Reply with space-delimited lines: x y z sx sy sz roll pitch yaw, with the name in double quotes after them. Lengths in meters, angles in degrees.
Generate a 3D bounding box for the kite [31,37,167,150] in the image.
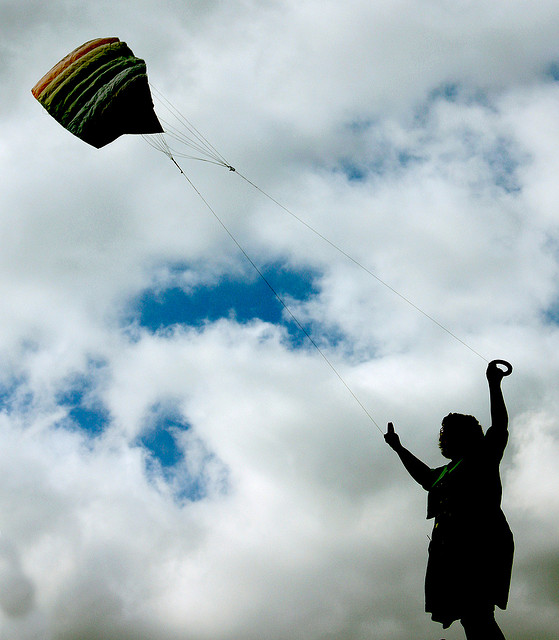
-4.532 -6.073 23.413 3.687 1.298 2.681 -19 -33 -17 "kite"
